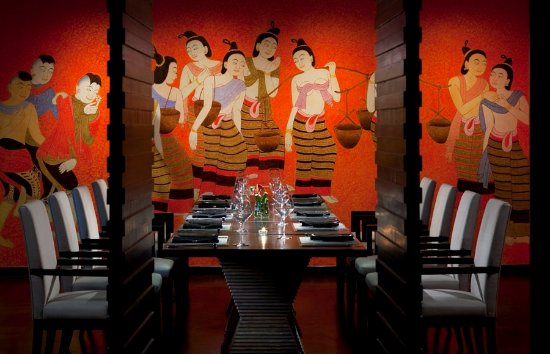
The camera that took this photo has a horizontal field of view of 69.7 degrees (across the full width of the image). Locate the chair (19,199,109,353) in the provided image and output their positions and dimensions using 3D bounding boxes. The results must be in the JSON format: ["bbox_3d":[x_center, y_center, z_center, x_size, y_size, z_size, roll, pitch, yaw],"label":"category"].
[{"bbox_3d":[-1.625,0.769,3.137,0.581,1.167,0.615,-5,11,-13],"label":"chair"}]
